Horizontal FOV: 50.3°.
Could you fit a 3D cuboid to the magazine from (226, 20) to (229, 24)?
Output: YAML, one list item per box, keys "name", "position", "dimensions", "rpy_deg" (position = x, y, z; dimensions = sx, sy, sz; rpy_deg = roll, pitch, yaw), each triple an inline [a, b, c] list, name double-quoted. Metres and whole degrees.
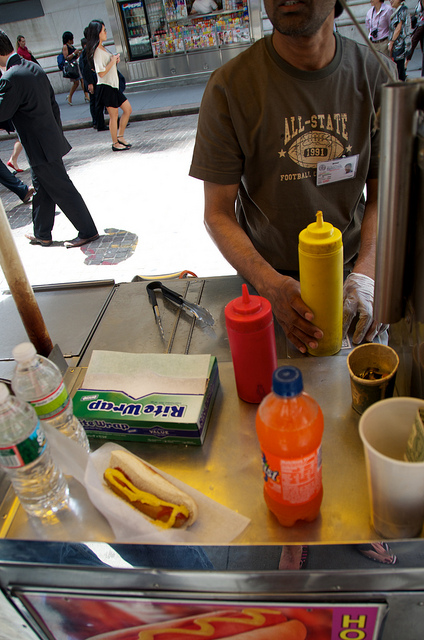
- name: "magazine"
  position: [0.356, -6.724, 10.121]
  dimensions: [0.056, 0.089, 0.055]
  rpy_deg: [-1, 46, 6]

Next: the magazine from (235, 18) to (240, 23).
- name: "magazine"
  position: [0.578, -6.773, 10.148]
  dimensions: [0.078, 0.076, 0.142]
  rpy_deg: [-6, 65, 13]

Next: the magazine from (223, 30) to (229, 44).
- name: "magazine"
  position: [0.319, -6.472, 10.291]
  dimensions: [0.117, 0.253, 0.046]
  rpy_deg: [-6, 33, 13]

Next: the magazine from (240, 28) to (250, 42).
- name: "magazine"
  position: [0.751, -6.507, 10.246]
  dimensions: [0.229, 0.254, 0.061]
  rpy_deg: [4, 37, 27]

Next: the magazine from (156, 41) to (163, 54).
- name: "magazine"
  position: [-1.251, -6.543, 10.792]
  dimensions: [0.170, 0.264, 0.082]
  rpy_deg: [-9, 33, 8]

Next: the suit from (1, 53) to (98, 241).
- name: "suit"
  position: [-1.536, -1.611, 4.202]
  dimensions: [0.710, 1.787, 0.698]
  rpy_deg: [-23, 34, -36]

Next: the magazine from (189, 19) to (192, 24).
- name: "magazine"
  position: [-0.484, -6.856, 10.319]
  dimensions: [0.056, 0.088, 0.054]
  rpy_deg: [-19, 59, -12]

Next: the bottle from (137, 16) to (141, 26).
- name: "bottle"
  position: [-1.741, -7.132, 10.730]
  dimensions: [0.137, 0.164, 0.033]
  rpy_deg: [17, 43, 39]

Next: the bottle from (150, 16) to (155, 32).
- name: "bottle"
  position: [-1.410, -6.973, 10.587]
  dimensions: [0.142, 0.313, 0.085]
  rpy_deg: [-2, 34, 19]

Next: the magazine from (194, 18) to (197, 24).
- name: "magazine"
  position: [-0.375, -6.852, 10.301]
  dimensions: [0.058, 0.091, 0.057]
  rpy_deg: [-16, 56, -11]

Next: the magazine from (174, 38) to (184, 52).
- name: "magazine"
  position: [-0.774, -6.522, 10.605]
  dimensions: [0.231, 0.314, 0.032]
  rpy_deg: [0, 18, 3]

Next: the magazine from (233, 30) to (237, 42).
- name: "magazine"
  position: [0.537, -6.492, 10.264]
  dimensions: [0.081, 0.235, 0.029]
  rpy_deg: [-20, 32, -8]

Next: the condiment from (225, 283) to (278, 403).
- name: "condiment"
  position: [0.076, 0.053, 0.865]
  dimensions: [0.103, 0.269, 0.105]
  rpy_deg: [0, 43, 13]

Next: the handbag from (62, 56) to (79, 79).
- name: "handbag"
  position: [-3.517, -6.249, 11.194]
  dimensions: [0.331, 0.410, 0.235]
  rpy_deg: [-5, 68, -9]

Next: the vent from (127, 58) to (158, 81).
- name: "vent"
  position: [-1.778, -6.339, 11.375]
  dimensions: [0.584, 0.437, 0.313]
  rpy_deg: [-2, 1, -6]

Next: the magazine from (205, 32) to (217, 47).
- name: "magazine"
  position: [-0.016, -6.496, 10.370]
  dimensions: [0.327, 0.374, 0.051]
  rpy_deg: [-2, 52, 3]

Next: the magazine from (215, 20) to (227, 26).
- name: "magazine"
  position: [0.219, -6.715, 10.143]
  dimensions: [0.261, 0.062, 0.072]
  rpy_deg: [-10, 76, 11]

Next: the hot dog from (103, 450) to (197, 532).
- name: "hot dog"
  position: [-0.097, 0.250, 0.699]
  dimensions: [0.144, 0.044, 0.072]
  rpy_deg: [25, 49, 30]

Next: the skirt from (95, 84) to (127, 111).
- name: "skirt"
  position: [-1.596, -3.479, 6.965]
  dimensions: [0.402, 0.356, 0.338]
  rpy_deg: [-11, 33, 6]

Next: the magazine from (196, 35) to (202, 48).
- name: "magazine"
  position: [-0.288, -6.472, 10.456]
  dimensions: [0.096, 0.238, 0.031]
  rpy_deg: [3, 36, 25]

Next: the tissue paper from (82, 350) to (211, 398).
- name: "tissue paper"
  position: [-0.135, 0.108, 0.908]
  dimensions: [0.260, 0.029, 0.114]
  rpy_deg: [-4, 34, 15]

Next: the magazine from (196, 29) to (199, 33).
- name: "magazine"
  position: [-0.329, -6.664, 10.352]
  dimensions: [0.069, 0.065, 0.018]
  rpy_deg: [-6, 33, 12]

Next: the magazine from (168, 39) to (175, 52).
- name: "magazine"
  position: [-0.946, -6.535, 10.695]
  dimensions: [0.121, 0.238, 0.238]
  rpy_deg: [-7, 17, 2]

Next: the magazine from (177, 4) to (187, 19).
- name: "magazine"
  position: [-0.662, -7.018, 10.211]
  dimensions: [0.175, 0.263, 0.055]
  rpy_deg: [-7, 33, 12]

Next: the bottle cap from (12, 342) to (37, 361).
- name: "bottle cap"
  position: [-0.295, 0.045, 0.698]
  dimensions: [0.028, 0.016, 0.027]
  rpy_deg: [-6, 17, -28]

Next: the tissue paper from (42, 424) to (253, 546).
- name: "tissue paper"
  position: [-0.118, 0.257, 0.709]
  dimensions: [0.331, 0.129, 0.141]
  rpy_deg: [32, 35, 28]

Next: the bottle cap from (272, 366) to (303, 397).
- name: "bottle cap"
  position: [0.093, 0.073, 0.549]
  dimensions: [0.033, 0.021, 0.034]
  rpy_deg: [0, 42, 8]

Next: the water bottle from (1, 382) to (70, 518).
- name: "water bottle"
  position: [-0.230, 0.195, 0.677]
  dimensions: [0.096, 0.216, 0.129]
  rpy_deg: [-9, 30, -24]

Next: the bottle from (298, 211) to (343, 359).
- name: "bottle"
  position: [0.233, -0.067, 0.949]
  dimensions: [0.094, 0.334, 0.090]
  rpy_deg: [-10, 32, 7]

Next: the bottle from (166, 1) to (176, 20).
- name: "bottle"
  position: [-0.945, -7.064, 10.282]
  dimensions: [0.205, 0.280, 0.072]
  rpy_deg: [7, 38, 30]
